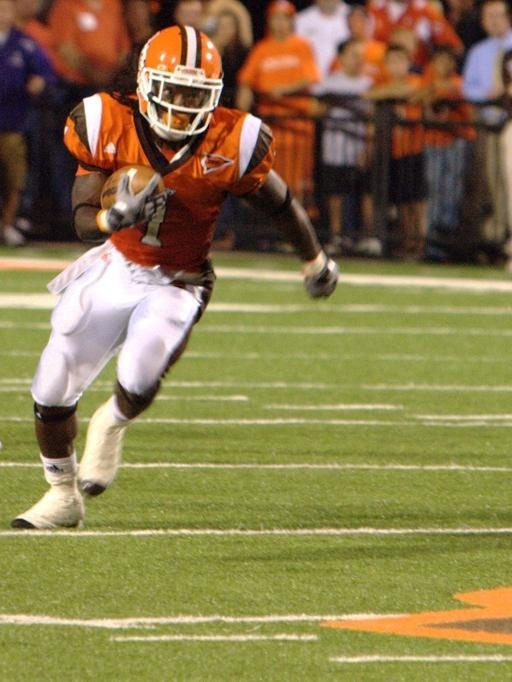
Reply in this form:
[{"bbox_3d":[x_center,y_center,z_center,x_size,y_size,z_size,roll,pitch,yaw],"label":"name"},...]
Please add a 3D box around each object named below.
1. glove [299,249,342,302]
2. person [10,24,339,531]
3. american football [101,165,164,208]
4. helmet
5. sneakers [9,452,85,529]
[{"bbox_3d":[0.176,-0.216,3.234,0.140,0.141,0.163,2,-24,-6],"label":"glove"},{"bbox_3d":[-0.337,-0.205,2.887,0.533,1.461,0.895,11,13,30],"label":"person"},{"bbox_3d":[-0.333,-0.420,2.539,0.176,0.113,0.108,-8,34,9],"label":"american football"},{"bbox_3d":[-0.219,-0.741,2.747,0.237,0.339,0.233,2,11,-5],"label":"helmet"},{"bbox_3d":[-0.592,0.428,2.723,0.204,0.198,0.108,0,12,-17],"label":"sneakers"}]
